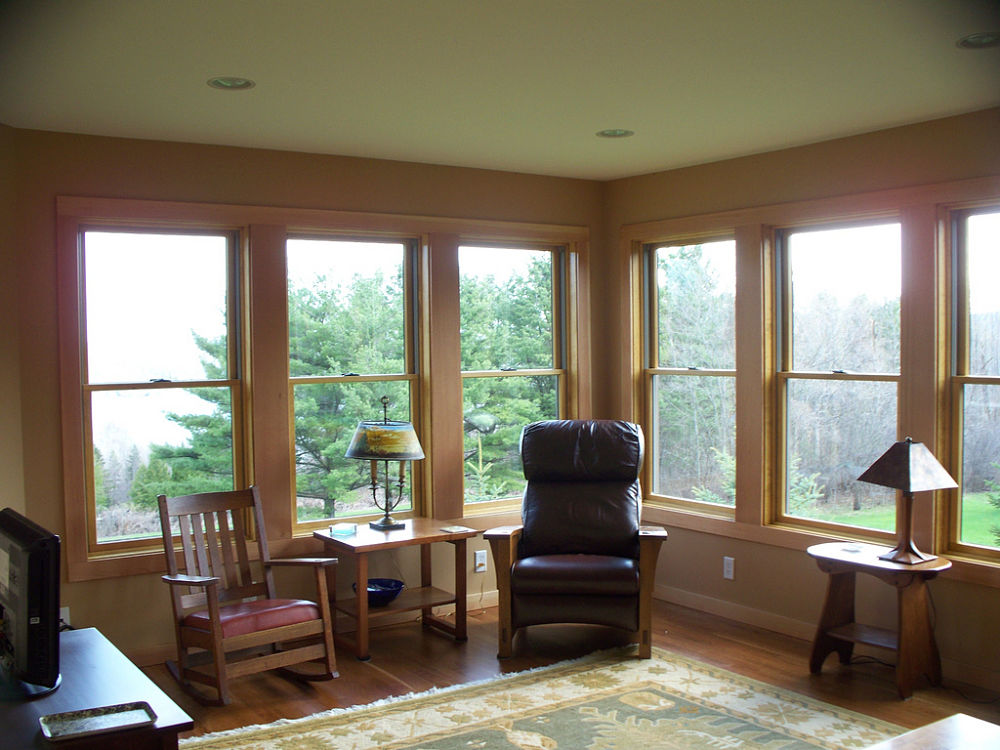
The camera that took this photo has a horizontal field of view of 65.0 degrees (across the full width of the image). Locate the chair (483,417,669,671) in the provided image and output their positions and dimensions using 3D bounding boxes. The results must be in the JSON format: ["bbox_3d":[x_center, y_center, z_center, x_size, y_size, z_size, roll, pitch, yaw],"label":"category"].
[{"bbox_3d":[0.401,0.888,4.548,0.969,1.212,0.855,-1,2,-2],"label":"chair"}]

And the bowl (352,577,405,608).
[{"bbox_3d":[-0.685,1.220,4.410,0.282,0.093,0.260,0,-2,0],"label":"bowl"}]

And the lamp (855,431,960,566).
[{"bbox_3d":[1.984,0.590,3.786,0.362,0.594,0.457,1,3,39],"label":"lamp"}]

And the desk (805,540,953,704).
[{"bbox_3d":[1.853,1.188,3.869,0.361,0.544,0.652,5,-7,-30],"label":"desk"}]

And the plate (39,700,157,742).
[{"bbox_3d":[-1.075,0.921,2.099,0.174,0.020,0.099,-2,3,-31],"label":"plate"}]
